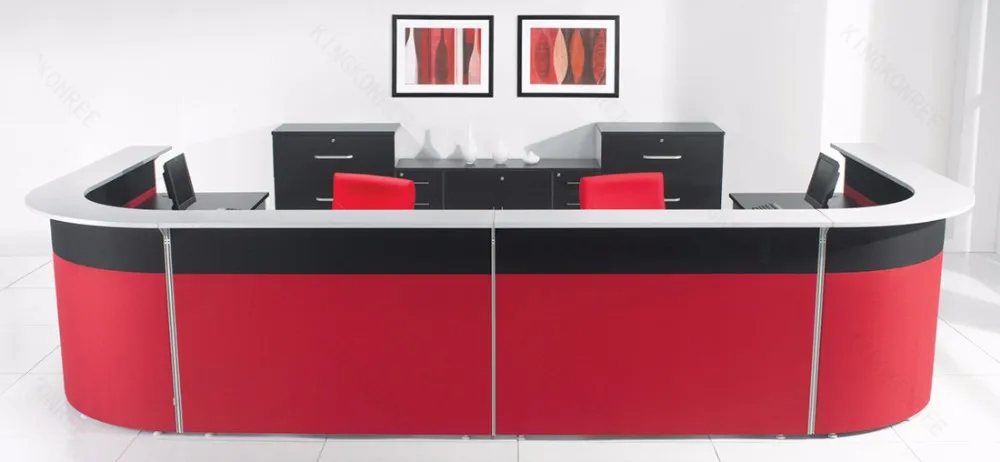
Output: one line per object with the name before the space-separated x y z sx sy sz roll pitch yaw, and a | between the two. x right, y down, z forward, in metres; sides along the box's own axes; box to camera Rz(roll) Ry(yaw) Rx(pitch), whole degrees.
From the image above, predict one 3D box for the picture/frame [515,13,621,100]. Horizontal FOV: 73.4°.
picture/frame | 0.929 -2.435 9.120 1.481 0.863 0.058 0 8 0
